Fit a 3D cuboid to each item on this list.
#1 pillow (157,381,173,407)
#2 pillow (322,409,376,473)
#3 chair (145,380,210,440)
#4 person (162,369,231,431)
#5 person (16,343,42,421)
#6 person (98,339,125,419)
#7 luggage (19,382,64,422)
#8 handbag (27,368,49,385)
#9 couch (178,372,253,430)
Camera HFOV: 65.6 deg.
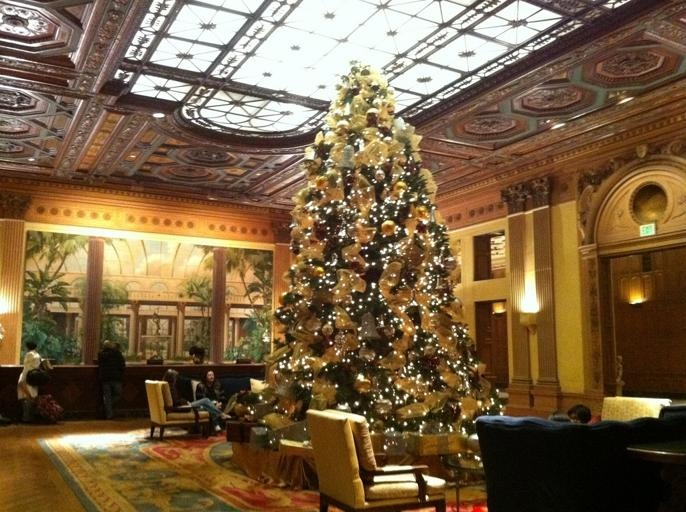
[{"bbox_3d":[-3.037,2.394,9.141,0.218,0.486,0.487,-11,-1,-14],"label":"pillow"},{"bbox_3d":[0.075,1.588,4.535,0.424,0.468,0.282,-1,-12,1],"label":"pillow"},{"bbox_3d":[-2.931,2.795,9.585,1.126,0.714,0.771,10,-20,-23],"label":"chair"},{"bbox_3d":[-2.891,2.746,9.570,1.176,0.829,0.778,14,-11,-38],"label":"person"},{"bbox_3d":[-6.421,2.694,10.948,0.388,1.413,0.690,6,-14,-29],"label":"person"},{"bbox_3d":[-5.121,2.764,11.820,0.524,1.683,0.625,4,-13,-19],"label":"person"},{"bbox_3d":[-6.183,3.079,11.003,1.054,0.735,0.754,9,-13,-10],"label":"luggage"},{"bbox_3d":[-6.152,2.450,10.817,0.398,0.325,0.379,11,-18,-33],"label":"handbag"},{"bbox_3d":[-2.504,2.804,10.324,1.276,1.197,1.880,16,-27,-35],"label":"couch"}]
